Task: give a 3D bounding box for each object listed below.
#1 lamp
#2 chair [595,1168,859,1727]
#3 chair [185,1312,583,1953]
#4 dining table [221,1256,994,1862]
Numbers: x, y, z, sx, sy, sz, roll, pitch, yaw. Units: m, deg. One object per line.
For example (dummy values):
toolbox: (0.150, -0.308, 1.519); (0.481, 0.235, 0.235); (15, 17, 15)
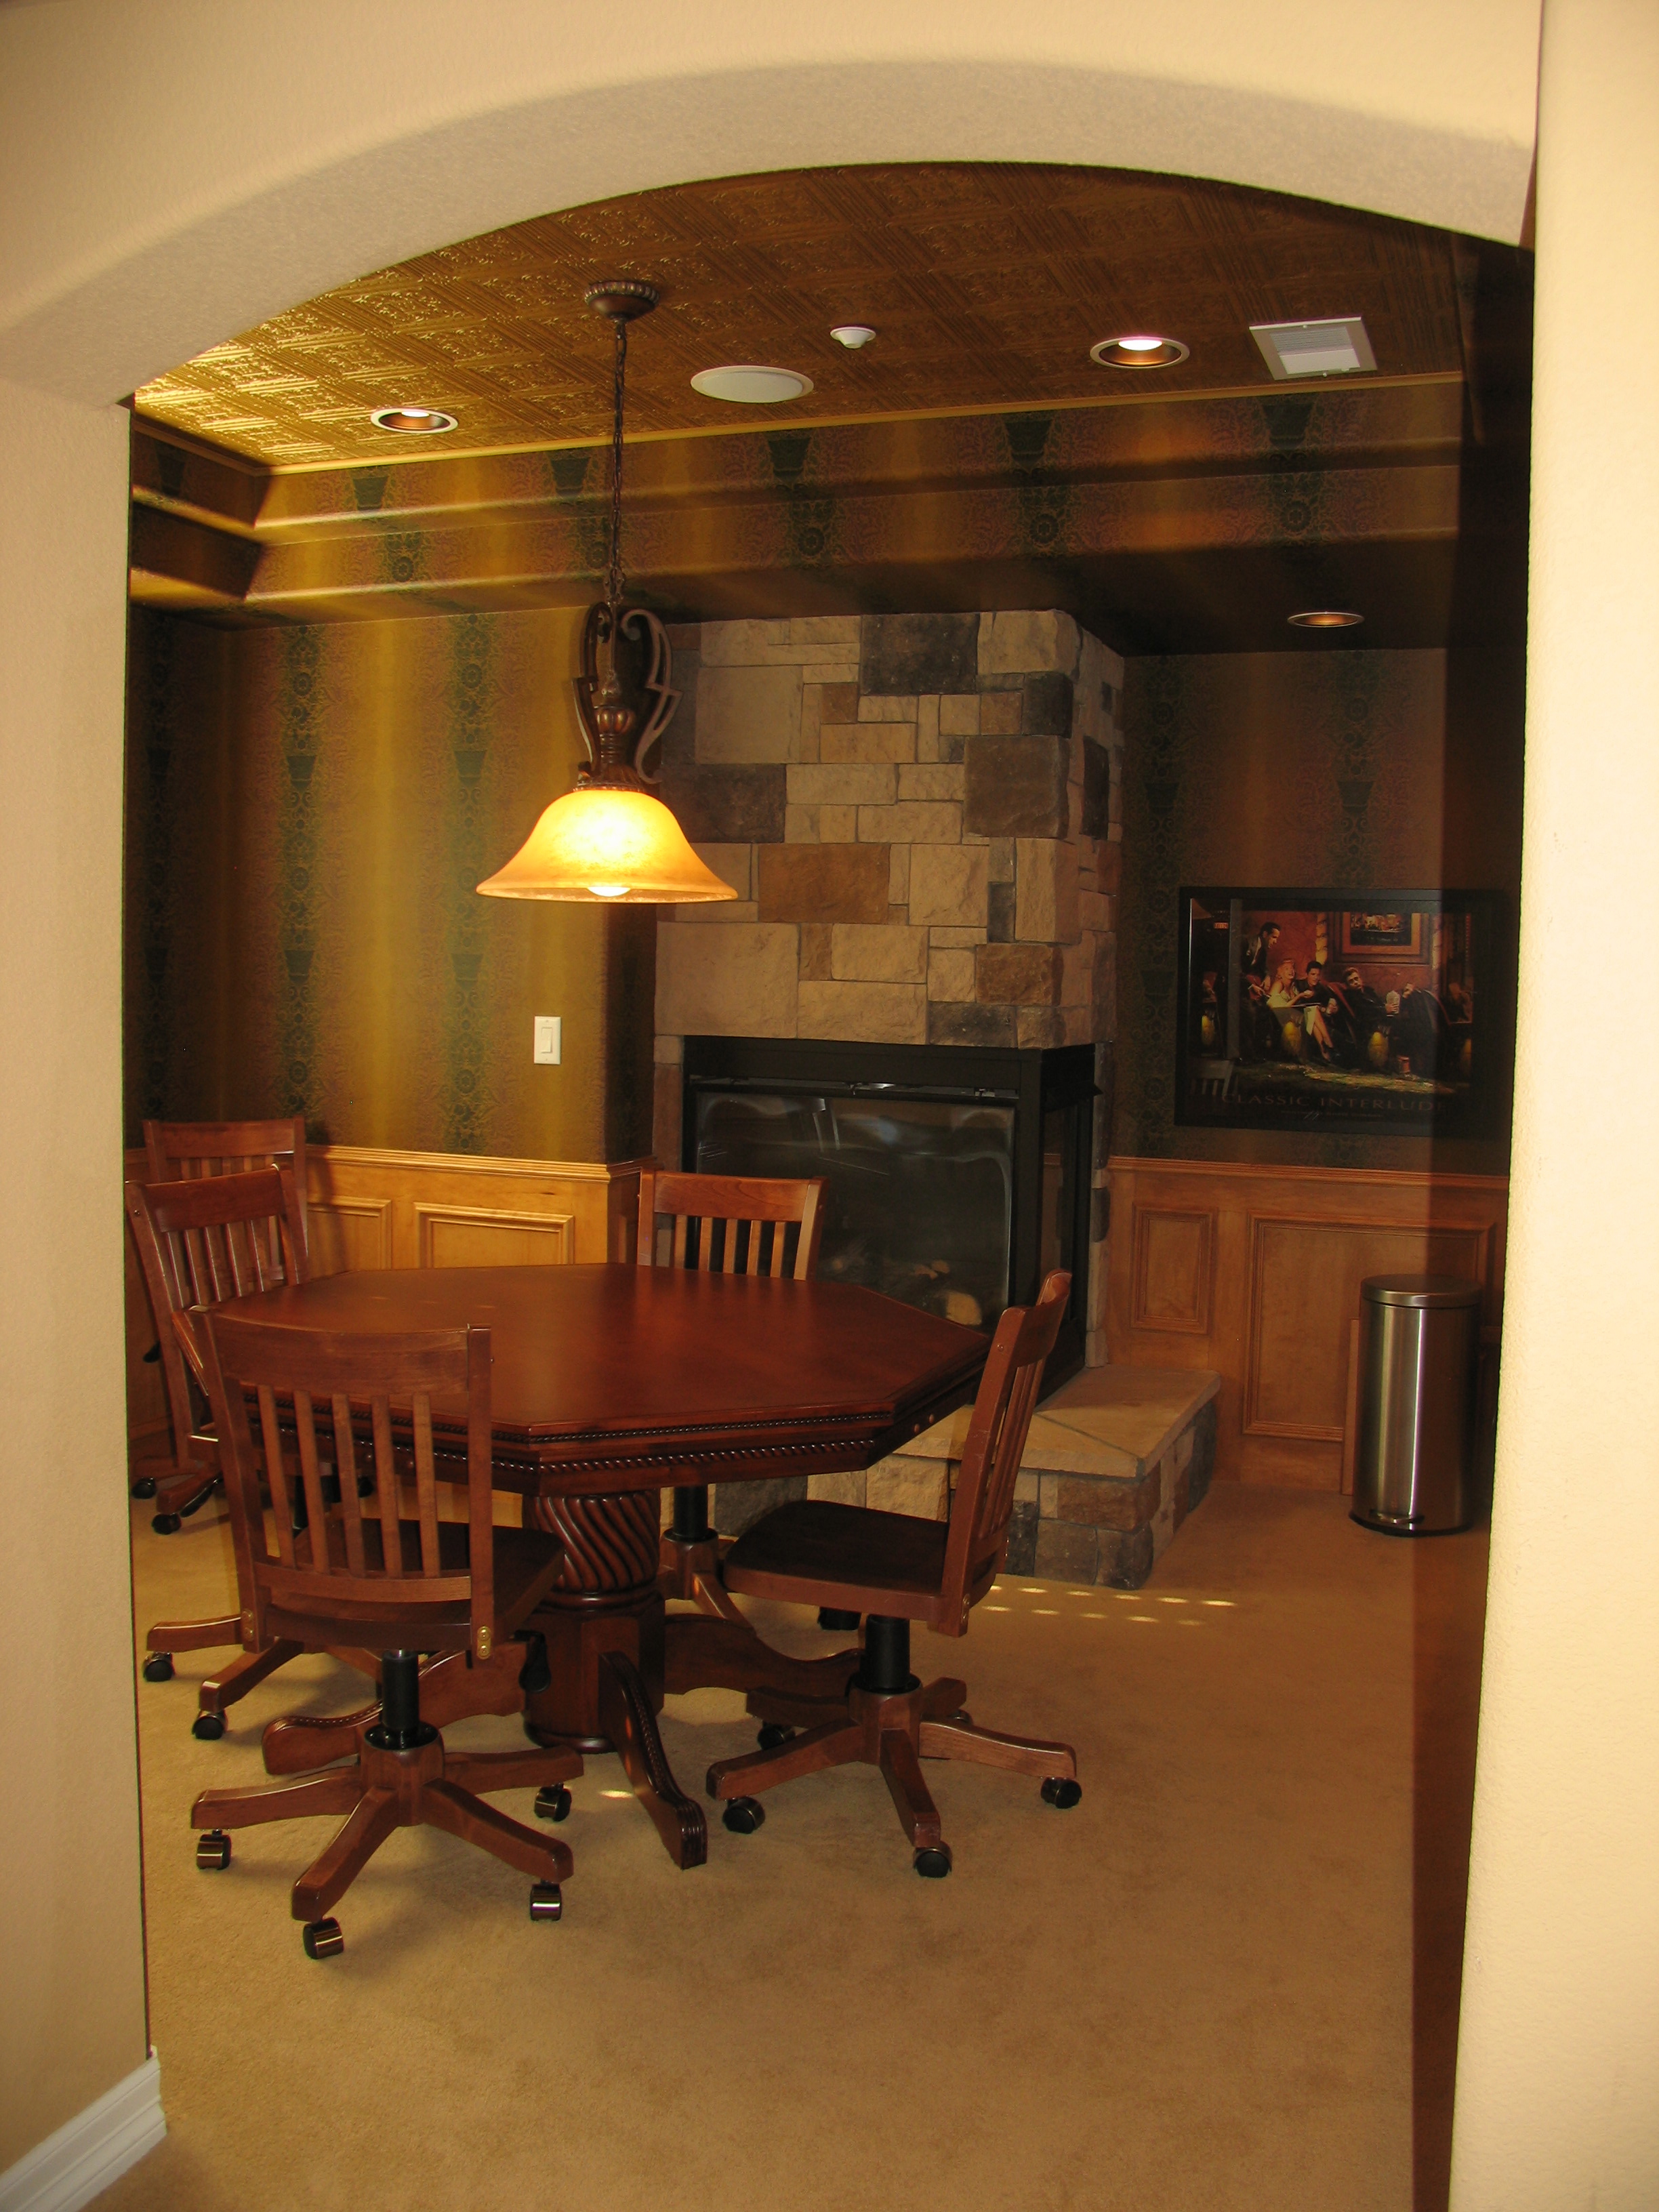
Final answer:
lamp: (-0.421, -0.904, 3.719); (0.444, 1.052, 1.551); (1, 4, -6)
chair: (-0.411, 0.738, 4.043); (0.829, 1.103, 0.794); (0, -10, -10)
chair: (-0.645, 0.706, 2.882); (0.593, 0.911, 0.869); (0, 4, -18)
dining table: (-0.381, 0.715, 3.243); (1.224, 0.690, 1.213); (6, 6, 32)
